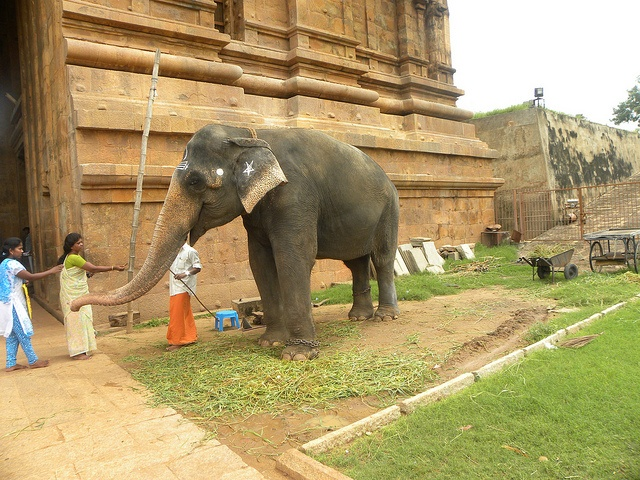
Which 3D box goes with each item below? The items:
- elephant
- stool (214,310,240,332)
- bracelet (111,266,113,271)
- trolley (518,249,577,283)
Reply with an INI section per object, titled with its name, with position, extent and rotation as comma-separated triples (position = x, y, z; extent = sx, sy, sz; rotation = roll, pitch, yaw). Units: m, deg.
[elephant]
position = -0.874, -0.062, 6.878
extent = 4.778, 3.013, 1.959
rotation = 2, -5, -37
[stool]
position = -1.467, 1.281, 7.335
extent = 0.295, 0.249, 0.300
rotation = 0, -7, -15
[bracelet]
position = -2.745, 0.370, 6.147
extent = 0.017, 0.046, 0.045
rotation = -3, 24, -3
[trolley]
position = 4.834, 0.512, 9.609
extent = 0.913, 0.470, 0.674
rotation = -9, 6, -23
